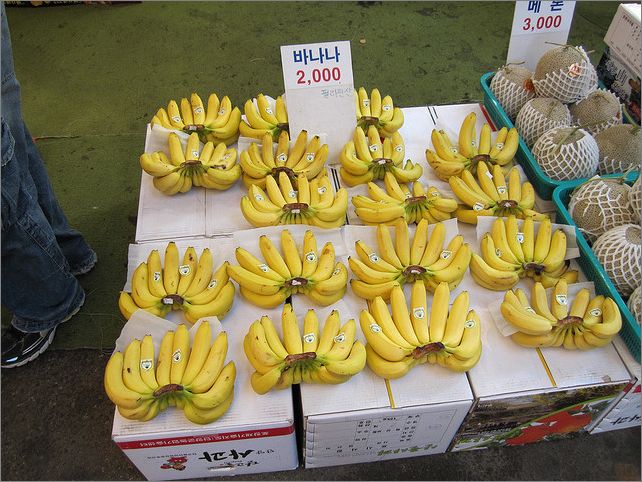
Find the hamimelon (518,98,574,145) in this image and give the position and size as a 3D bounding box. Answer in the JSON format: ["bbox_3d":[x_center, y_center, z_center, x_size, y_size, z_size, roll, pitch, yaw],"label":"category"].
[{"bbox_3d":[1.446,-0.789,3.281,0.257,0.333,0.338,10,44,11],"label":"hamimelon"}]

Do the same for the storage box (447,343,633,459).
[{"bbox_3d":[1.174,0.818,2.850,0.904,0.580,0.687,-10,16,2],"label":"storage box"}]

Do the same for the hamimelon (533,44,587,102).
[{"bbox_3d":[1.586,-1.093,3.243,0.304,0.305,0.271,-9,54,-9],"label":"hamimelon"}]

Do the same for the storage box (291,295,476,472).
[{"bbox_3d":[0.268,0.772,2.814,0.753,0.635,0.916,-9,69,-8],"label":"storage box"}]

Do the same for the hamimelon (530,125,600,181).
[{"bbox_3d":[1.505,-0.513,3.099,0.309,0.341,0.353,0,57,7],"label":"hamimelon"}]

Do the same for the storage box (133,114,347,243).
[{"bbox_3d":[-0.615,-0.114,3.432,1.191,0.715,1.182,-6,48,-6],"label":"storage box"}]

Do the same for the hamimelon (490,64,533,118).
[{"bbox_3d":[1.285,-1.042,3.478,0.267,0.325,0.353,2,50,14],"label":"hamimelon"}]

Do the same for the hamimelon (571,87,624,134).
[{"bbox_3d":[1.763,-0.826,3.175,0.228,0.245,0.227,-6,40,-6],"label":"hamimelon"}]
